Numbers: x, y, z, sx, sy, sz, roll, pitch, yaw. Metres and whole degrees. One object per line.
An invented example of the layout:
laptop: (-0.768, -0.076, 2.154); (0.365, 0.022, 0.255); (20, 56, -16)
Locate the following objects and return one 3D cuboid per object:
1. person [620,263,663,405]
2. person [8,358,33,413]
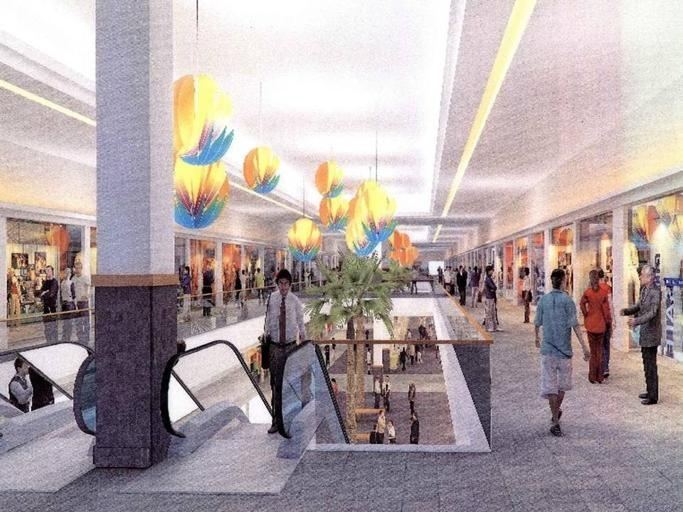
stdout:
person: (4.969, 1.225, 7.610); (0.493, 2.120, 1.381); (1, 1, 34)
person: (-4.435, 1.757, 6.442); (0.210, 0.729, 0.368); (1, 1, 7)
